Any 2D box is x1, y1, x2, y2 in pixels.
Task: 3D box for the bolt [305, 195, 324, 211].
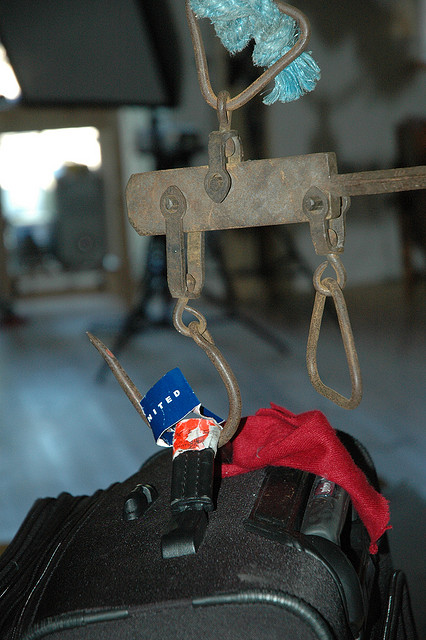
[{"bbox_3d":[0.067,-0.077,0.421,0.011,0.010,0.002,-2,4,-5],"label":"bolt"}]
